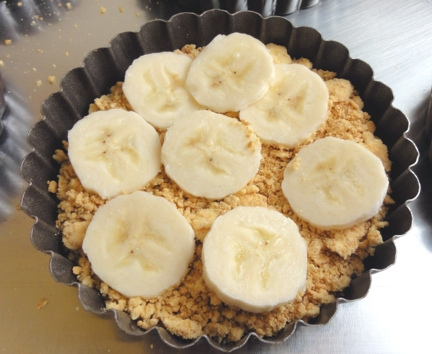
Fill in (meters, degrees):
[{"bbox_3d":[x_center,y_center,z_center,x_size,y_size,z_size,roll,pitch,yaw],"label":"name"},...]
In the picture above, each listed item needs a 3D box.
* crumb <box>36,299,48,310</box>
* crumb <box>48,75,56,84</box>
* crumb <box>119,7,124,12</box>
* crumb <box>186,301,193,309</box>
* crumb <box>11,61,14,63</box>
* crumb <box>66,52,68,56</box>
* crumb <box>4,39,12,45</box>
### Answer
[{"bbox_3d":[-1.067,0.781,3.584,0.042,0.016,0.069,36,77,22],"label":"crumb"},{"bbox_3d":[-1.137,-0.683,4.052,0.041,0.014,0.061,-12,76,31],"label":"crumb"},{"bbox_3d":[-0.706,-1.246,4.341,0.025,0.011,0.030,0,84,-2],"label":"crumb"},{"bbox_3d":[-0.150,0.729,3.333,0.030,0.012,0.046,31,71,15],"label":"crumb"},{"bbox_3d":[-1.467,-0.828,4.193,0.014,0.005,0.017,-2,81,-7],"label":"crumb"},{"bbox_3d":[-1.080,-0.892,4.216,0.013,0.006,0.026,0,73,-3],"label":"crumb"},{"bbox_3d":[-1.514,-0.983,4.238,0.032,0.011,0.040,3,67,-3],"label":"crumb"}]
